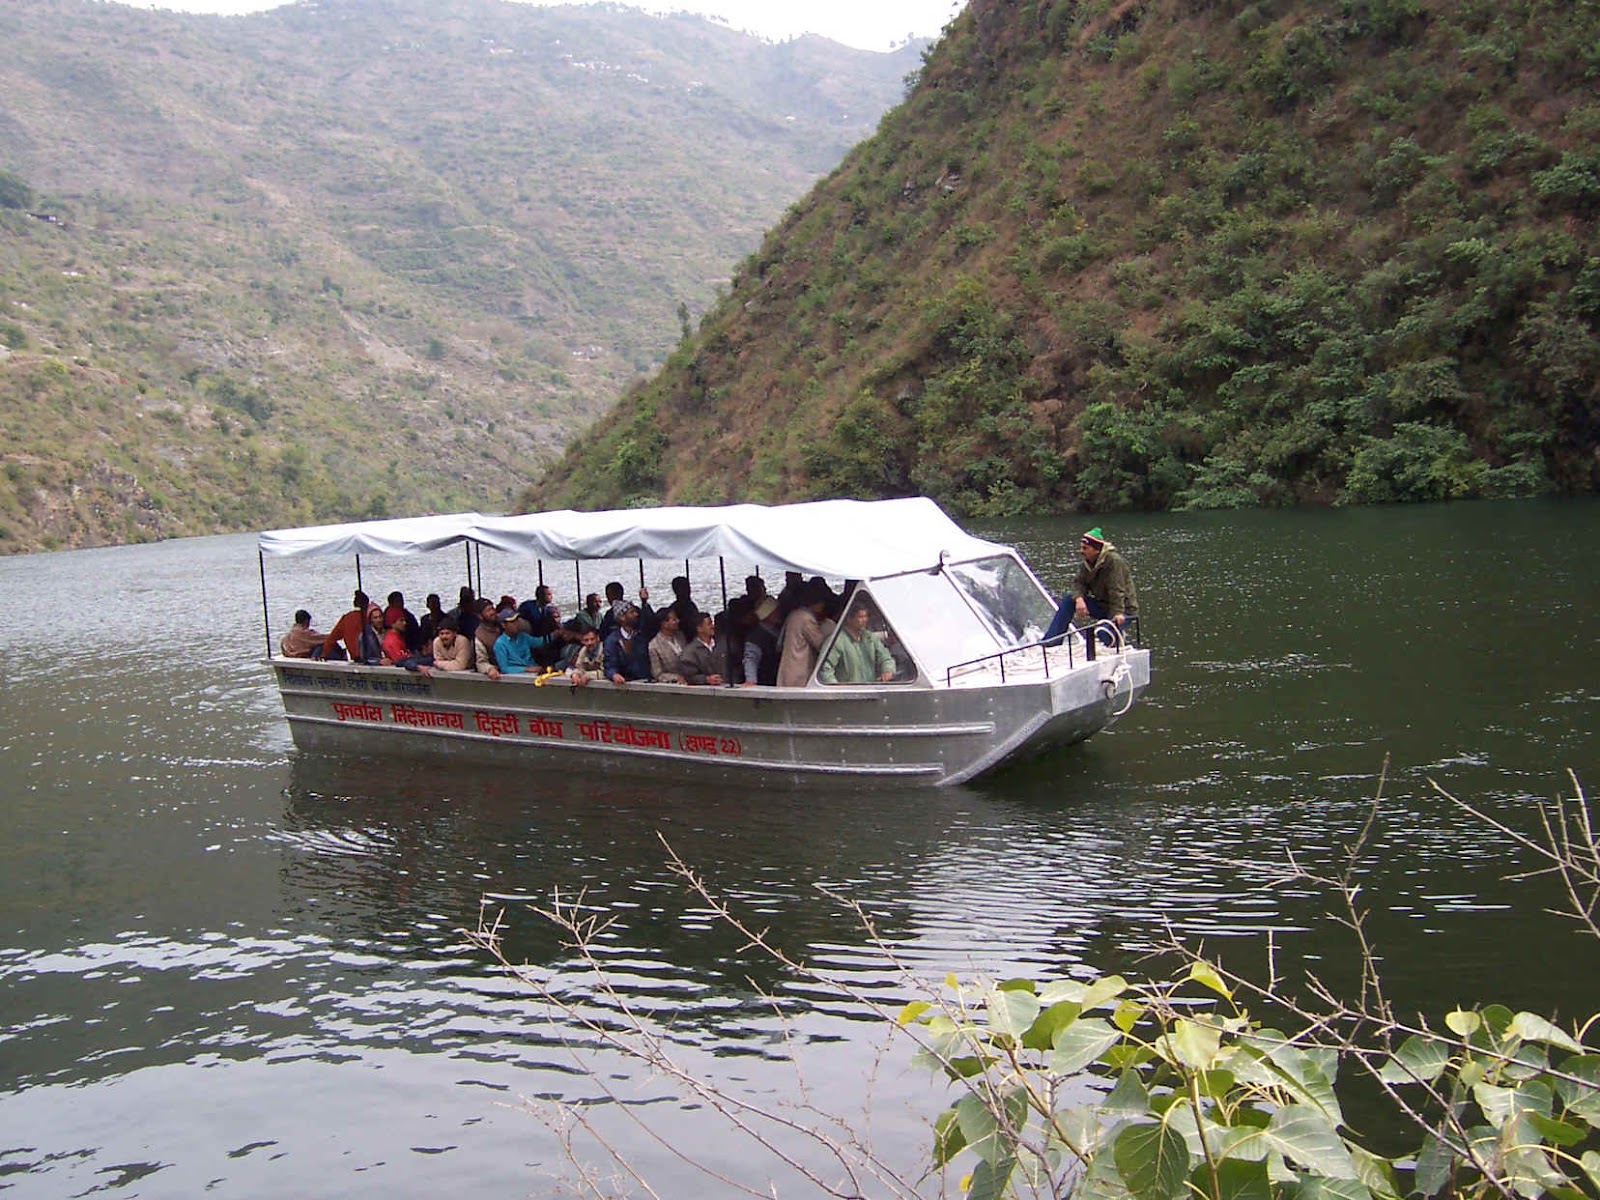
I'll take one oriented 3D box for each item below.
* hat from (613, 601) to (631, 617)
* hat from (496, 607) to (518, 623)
[{"bbox_3d":[-1.997,0.092,17.158,0.221,0.091,0.264,-1,-7,-21],"label":"hat"},{"bbox_3d":[-3.555,0.186,18.254,0.202,0.098,0.274,-12,-8,-33],"label":"hat"}]
